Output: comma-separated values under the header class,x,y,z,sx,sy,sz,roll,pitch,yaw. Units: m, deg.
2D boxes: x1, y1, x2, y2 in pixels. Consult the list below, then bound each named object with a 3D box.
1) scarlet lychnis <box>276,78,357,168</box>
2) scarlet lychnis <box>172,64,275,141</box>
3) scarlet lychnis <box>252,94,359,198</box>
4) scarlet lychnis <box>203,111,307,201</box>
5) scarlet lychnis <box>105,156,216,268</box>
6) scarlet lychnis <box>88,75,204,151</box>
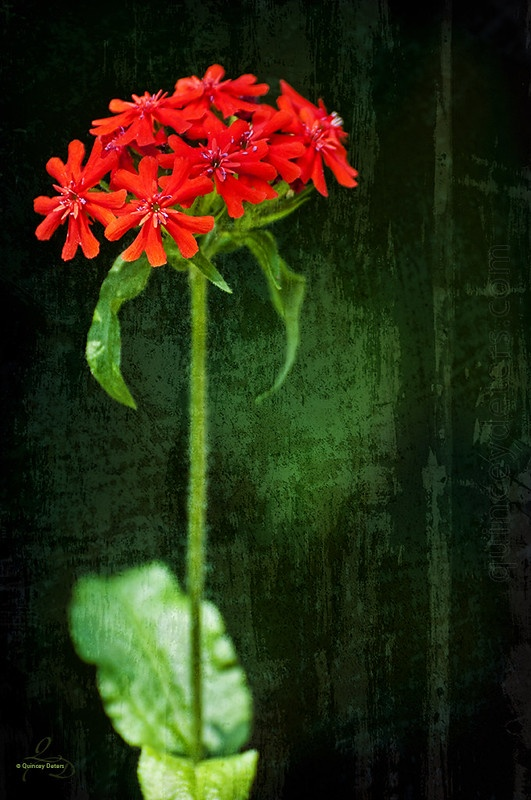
class,x,y,z,sx,sy,sz,roll,pitch,yaw
scarlet lychnis,0.060,-0.289,0.984,0.047,0.112,0.108,-15,39,25
scarlet lychnis,-0.060,-0.336,0.946,0.091,0.085,0.044,5,80,5
scarlet lychnis,0.056,-0.288,0.962,0.049,0.120,0.133,-42,79,-9
scarlet lychnis,-0.020,-0.256,0.905,0.101,0.041,0.097,-37,115,-15
scarlet lychnis,-0.111,-0.189,1.006,0.108,0.248,0.117,11,82,0
scarlet lychnis,-0.127,-0.305,0.922,0.133,0.129,0.038,-11,93,29
